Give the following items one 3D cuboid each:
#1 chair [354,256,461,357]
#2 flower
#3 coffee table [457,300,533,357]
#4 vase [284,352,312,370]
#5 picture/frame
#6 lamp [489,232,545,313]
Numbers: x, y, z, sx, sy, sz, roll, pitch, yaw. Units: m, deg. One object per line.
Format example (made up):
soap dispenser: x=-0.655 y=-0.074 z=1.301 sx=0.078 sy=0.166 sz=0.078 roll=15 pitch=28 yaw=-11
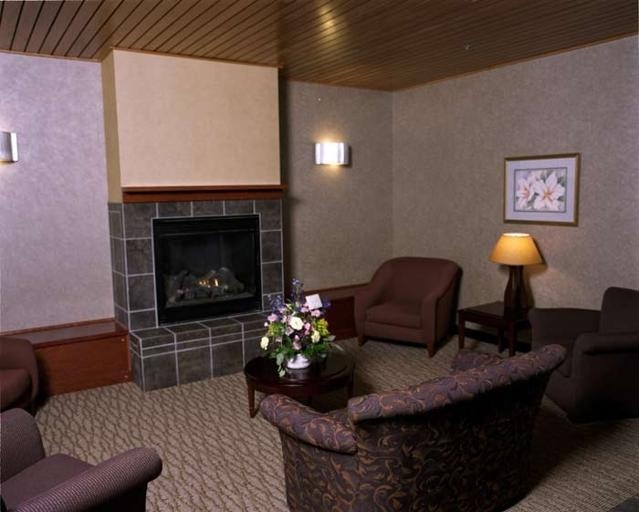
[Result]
chair: x=1.089 y=0.507 z=6.088 sx=1.189 sy=1.141 sz=1.128 roll=0 pitch=1 yaw=34
flower: x=-0.237 y=0.558 z=4.183 sx=0.706 sy=0.751 sz=0.704 roll=0 pitch=3 yaw=-18
coffee table: x=1.907 y=0.727 z=5.354 sx=0.595 sy=0.586 sz=0.599 roll=-1 pitch=2 yaw=-29
vase: x=-0.176 y=0.822 z=3.979 sx=0.139 sy=0.109 sz=0.145 roll=0 pitch=1 yaw=25
picture/frame: x=2.403 y=-0.725 z=5.290 sx=0.033 sy=0.741 sz=0.818 roll=-3 pitch=3 yaw=-35
lamp: x=2.153 y=0.168 z=5.354 sx=0.528 sy=0.814 sz=0.456 roll=-9 pitch=12 yaw=-36
